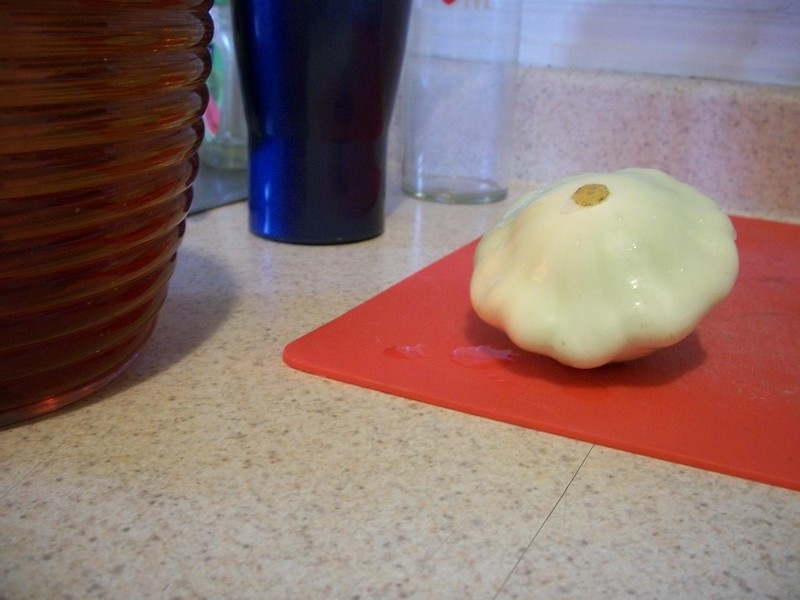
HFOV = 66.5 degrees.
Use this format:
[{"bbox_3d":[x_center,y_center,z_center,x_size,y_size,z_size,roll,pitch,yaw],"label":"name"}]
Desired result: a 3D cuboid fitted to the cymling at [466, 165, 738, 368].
[{"bbox_3d":[0.149,-0.029,0.446,0.187,0.110,0.140,-4,25,-17],"label":"cymling"}]
